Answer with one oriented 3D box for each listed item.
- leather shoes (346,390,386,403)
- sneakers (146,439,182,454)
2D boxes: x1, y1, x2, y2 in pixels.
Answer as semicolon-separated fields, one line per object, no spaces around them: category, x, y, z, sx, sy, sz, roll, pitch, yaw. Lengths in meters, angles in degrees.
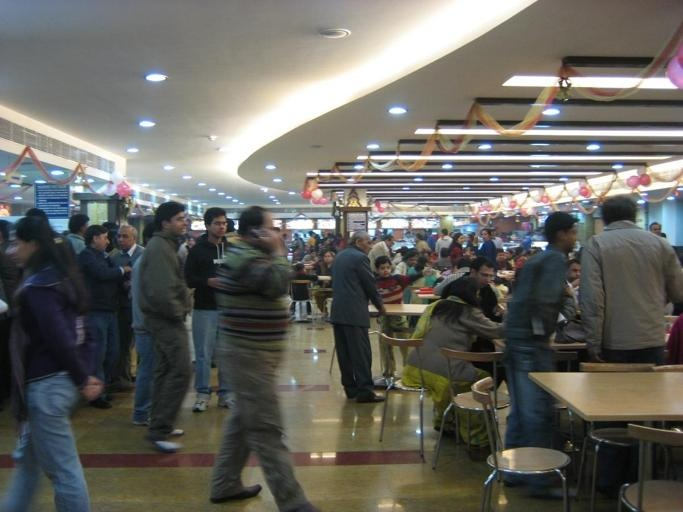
leather shoes;0.293;1.588;6.503;0.456;0.157;0.148;-2;1;-10
sneakers;-1.547;1.683;5.065;0.332;0.095;0.103;5;-39;-14
